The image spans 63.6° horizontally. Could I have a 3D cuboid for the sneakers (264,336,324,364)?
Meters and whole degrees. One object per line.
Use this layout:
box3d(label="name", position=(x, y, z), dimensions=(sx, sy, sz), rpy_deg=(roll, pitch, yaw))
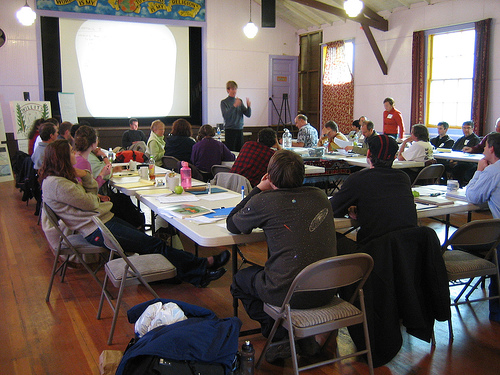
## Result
box3d(label="sneakers", position=(0.296, 1.050, 2.683), dimensions=(0.289, 0.133, 0.224), rpy_deg=(-3, -2, -29))

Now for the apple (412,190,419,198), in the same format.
box3d(label="apple", position=(1.438, 0.056, 3.481), dimensions=(0.038, 0.054, 0.054), rpy_deg=(9, -18, -1))

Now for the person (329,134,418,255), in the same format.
box3d(label="person", position=(0.878, 0.025, 2.832), dimensions=(0.576, 0.754, 0.429), rpy_deg=(3, 13, 23))

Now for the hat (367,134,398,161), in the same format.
box3d(label="hat", position=(0.952, -0.282, 2.860), dimensions=(0.153, 0.115, 0.219), rpy_deg=(5, 38, 2))

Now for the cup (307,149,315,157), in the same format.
box3d(label="cup", position=(0.949, -0.536, 6.259), dimensions=(0.120, 0.115, 0.104), rpy_deg=(-2, 7, 2))

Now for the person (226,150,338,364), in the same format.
box3d(label="person", position=(0.182, 0.363, 2.610), dimensions=(0.701, 1.193, 0.422), rpy_deg=(7, 15, 37))

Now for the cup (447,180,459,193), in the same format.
box3d(label="cup", position=(1.922, -0.017, 3.827), dimensions=(0.091, 0.106, 0.118), rpy_deg=(-2, 0, -11))

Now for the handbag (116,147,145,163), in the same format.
box3d(label="handbag", position=(-1.750, -0.453, 5.840), dimensions=(0.255, 0.130, 0.342), rpy_deg=(-4, 7, -30))

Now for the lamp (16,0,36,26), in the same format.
box3d(label="lamp", position=(-4.519, -3.477, 8.026), dimensions=(0.289, 0.416, 0.332), rpy_deg=(-10, 15, -33))

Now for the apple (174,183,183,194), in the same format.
box3d(label="apple", position=(-0.665, 0.014, 3.741), dimensions=(0.073, 0.092, 0.073), rpy_deg=(-13, 24, -31))

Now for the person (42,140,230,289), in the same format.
box3d(label="person", position=(-1.026, 0.191, 3.794), dimensions=(1.539, 0.974, 0.552), rpy_deg=(11, 16, -15))

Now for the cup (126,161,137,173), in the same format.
box3d(label="cup", position=(-1.508, -0.260, 5.027), dimensions=(0.140, 0.130, 0.090), rpy_deg=(-2, 7, -21))
